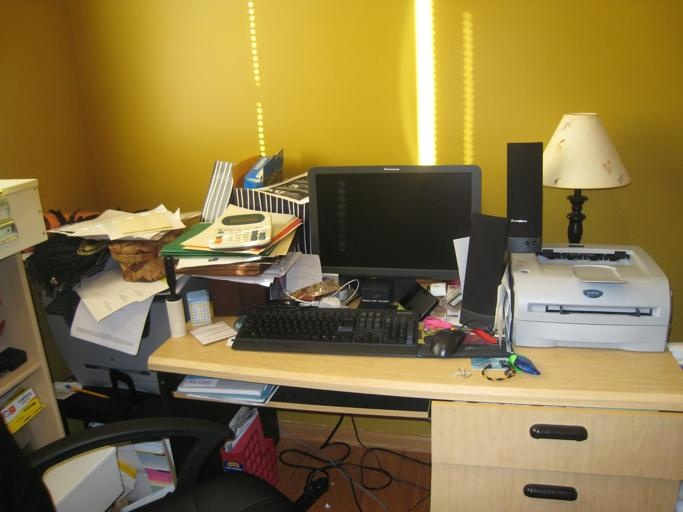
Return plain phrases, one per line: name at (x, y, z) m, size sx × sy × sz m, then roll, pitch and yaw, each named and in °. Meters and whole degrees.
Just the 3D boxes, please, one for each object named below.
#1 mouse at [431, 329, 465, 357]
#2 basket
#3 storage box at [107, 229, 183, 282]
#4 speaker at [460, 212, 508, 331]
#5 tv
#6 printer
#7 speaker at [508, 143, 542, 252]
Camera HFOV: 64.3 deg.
mouse at (0.347, 0.282, 1.772) m, size 0.101 × 0.073 × 0.034 m, roll -10°, pitch -4°, yaw 20°
basket at (-0.747, -0.017, 2.070) m, size 0.198 × 0.134 × 0.193 m, roll 1°, pitch 14°, yaw 21°
storage box at (-0.786, 0.015, 2.132) m, size 0.205 × 0.142 × 0.217 m, roll -7°, pitch 9°, yaw -20°
speaker at (0.527, 0.052, 1.937) m, size 0.190 × 0.423 × 0.178 m, roll -12°, pitch 20°, yaw -31°
tv at (0.210, -0.087, 2.016) m, size 0.514 × 0.403 × 0.149 m, roll 0°, pitch 15°, yaw 10°
printer at (0.853, 0.128, 1.903) m, size 0.473 × 0.282 × 0.461 m, roll 3°, pitch 19°, yaw 24°
speaker at (0.631, -0.201, 1.881) m, size 0.135 × 0.367 × 0.083 m, roll 4°, pitch 21°, yaw 17°
